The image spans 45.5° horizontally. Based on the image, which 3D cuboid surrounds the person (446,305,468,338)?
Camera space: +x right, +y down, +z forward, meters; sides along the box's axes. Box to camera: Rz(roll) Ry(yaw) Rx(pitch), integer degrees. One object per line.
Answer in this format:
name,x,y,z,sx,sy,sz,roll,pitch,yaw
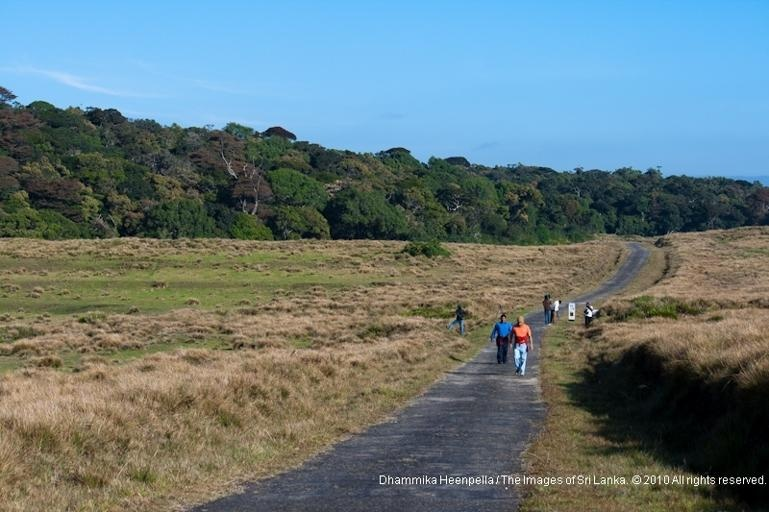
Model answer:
person,4.854,4.435,60.885,1.256,2.251,1.093,10,29,16
